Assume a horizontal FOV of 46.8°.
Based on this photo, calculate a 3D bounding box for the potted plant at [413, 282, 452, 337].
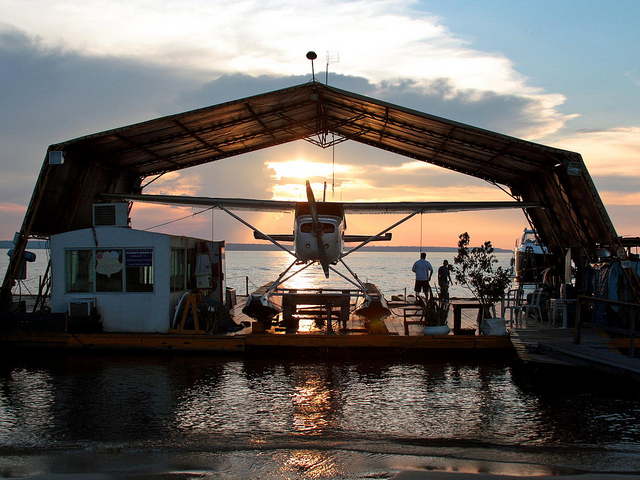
[{"bbox_3d":[2.044,1.505,15.063,1.156,1.135,1.125,-1,3,4],"label":"potted plant"}]

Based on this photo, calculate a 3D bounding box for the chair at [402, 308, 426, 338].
[{"bbox_3d":[1.956,1.863,15.922,0.613,0.548,1.416,-1,-5,9],"label":"chair"}]

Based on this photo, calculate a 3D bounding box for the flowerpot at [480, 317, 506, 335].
[{"bbox_3d":[3.445,1.677,14.643,0.617,0.287,0.345,0,-4,-24],"label":"flowerpot"}]
